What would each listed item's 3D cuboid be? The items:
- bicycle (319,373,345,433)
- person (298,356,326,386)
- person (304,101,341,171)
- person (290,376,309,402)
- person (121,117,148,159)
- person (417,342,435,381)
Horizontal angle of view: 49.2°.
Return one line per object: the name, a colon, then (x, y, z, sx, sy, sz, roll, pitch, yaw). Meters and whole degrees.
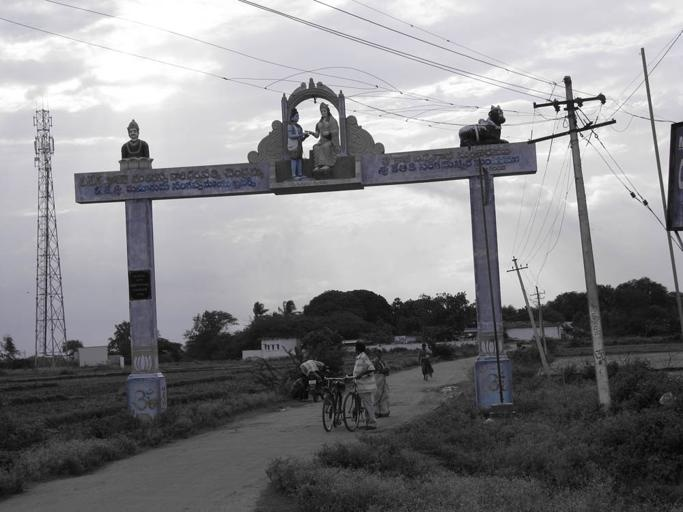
bicycle: (-0.243, 4.175, 20.522, 0.631, 1.378, 1.508, -4, -3, -1)
person: (-0.960, 3.905, 25.749, 0.993, 0.497, 1.214, 5, -26, 9)
person: (-0.496, -3.416, 21.895, 0.811, 2.152, 0.326, -4, -3, 3)
person: (-1.736, 5.617, 30.455, 0.657, 1.222, 1.201, 2, -22, -2)
person: (-6.352, -3.508, 22.842, 0.813, 1.273, 0.489, -6, -4, 32)
person: (4.723, 6.235, 42.373, 0.782, 2.195, 0.718, -8, 15, -8)
